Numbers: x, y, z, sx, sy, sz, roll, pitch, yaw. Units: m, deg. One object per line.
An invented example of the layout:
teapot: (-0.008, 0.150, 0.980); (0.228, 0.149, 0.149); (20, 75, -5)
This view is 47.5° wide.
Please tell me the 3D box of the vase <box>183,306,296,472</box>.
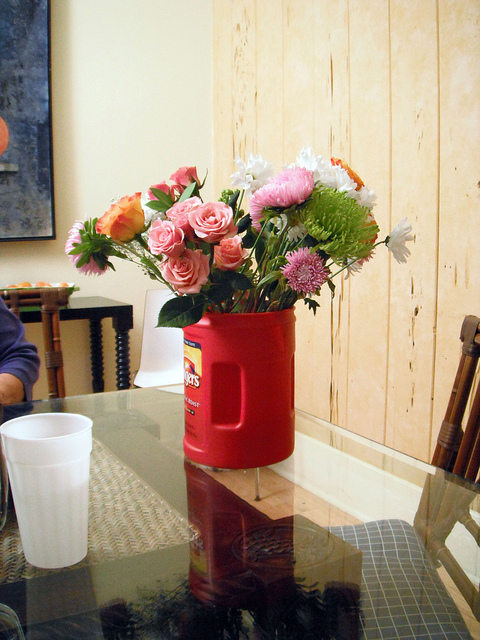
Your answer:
vase: (0.000, 0.079, 0.735); (0.164, 0.201, 0.172); (-2, 6, -11)

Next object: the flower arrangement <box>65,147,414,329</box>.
flower arrangement: (0.010, -0.083, 0.719); (0.299, 0.188, 0.391); (-16, 14, -30)

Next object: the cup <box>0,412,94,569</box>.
cup: (-0.167, 0.146, 0.469); (0.074, 0.121, 0.082); (1, 7, -13)
